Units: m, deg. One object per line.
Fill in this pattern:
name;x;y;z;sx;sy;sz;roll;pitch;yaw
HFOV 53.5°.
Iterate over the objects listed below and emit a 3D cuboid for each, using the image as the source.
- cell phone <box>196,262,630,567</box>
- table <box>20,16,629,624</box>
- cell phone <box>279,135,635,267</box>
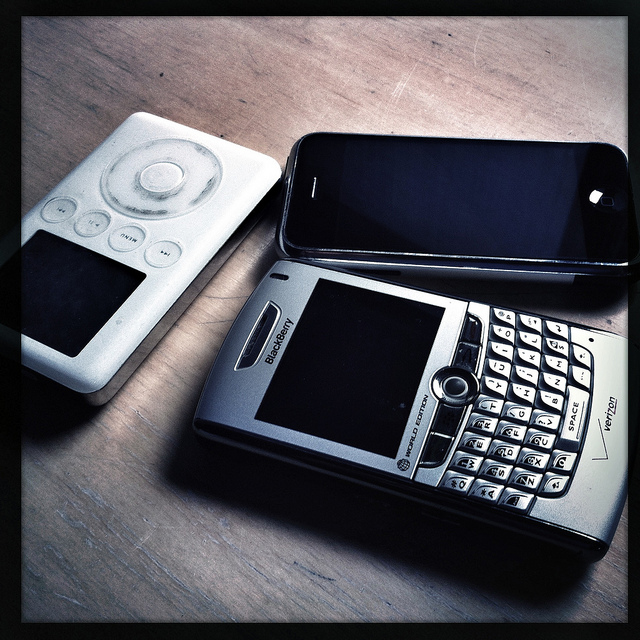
cell phone;0.051;0.059;0.373;0.204;0.056;0.126;20;63;9
table;0.075;-0.006;0.407;0.259;0.052;0.277;2;73;4
cell phone;0.080;-0.066;0.416;0.198;0.027;0.100;6;64;6
